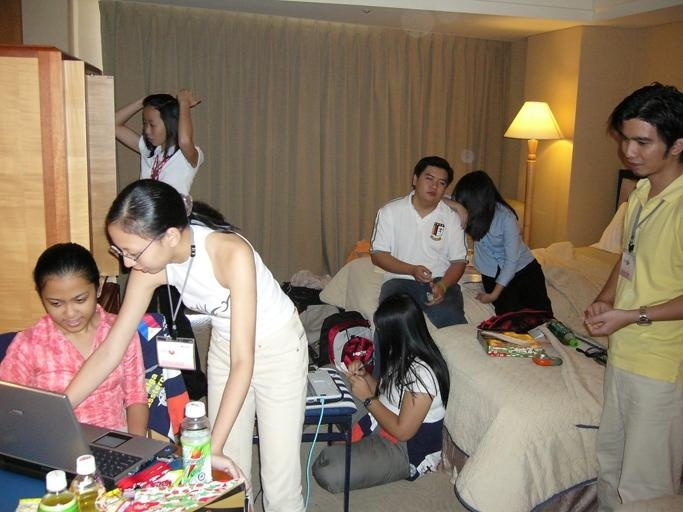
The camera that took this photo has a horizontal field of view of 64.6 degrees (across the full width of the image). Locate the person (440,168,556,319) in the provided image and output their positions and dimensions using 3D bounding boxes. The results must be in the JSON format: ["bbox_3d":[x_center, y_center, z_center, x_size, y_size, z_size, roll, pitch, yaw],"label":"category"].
[{"bbox_3d":[1.047,-0.101,3.594,0.712,0.891,0.455,2,12,11],"label":"person"}]

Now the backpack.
[{"bbox_3d":[0.053,0.572,3.525,0.292,0.459,0.225,-10,14,-29],"label":"backpack"}]

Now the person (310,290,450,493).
[{"bbox_3d":[0.169,0.677,2.880,0.740,0.972,0.730,11,13,33],"label":"person"}]

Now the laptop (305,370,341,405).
[{"bbox_3d":[-0.097,0.638,2.615,0.121,0.034,0.132,-2,29,-9],"label":"laptop"}]

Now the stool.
[{"bbox_3d":[-0.189,0.742,2.807,0.545,0.696,0.743,-1,22,-4],"label":"stool"}]

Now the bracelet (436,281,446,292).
[{"bbox_3d":[0.629,0.193,3.426,0.049,0.024,0.058,37,10,-14],"label":"bracelet"}]

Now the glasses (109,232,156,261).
[{"bbox_3d":[-0.667,-0.033,1.732,0.067,0.022,0.074,15,61,38],"label":"glasses"}]

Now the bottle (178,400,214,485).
[{"bbox_3d":[-0.450,0.591,1.654,0.077,0.309,0.082,4,18,-1],"label":"bottle"}]

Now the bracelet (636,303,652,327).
[{"bbox_3d":[1.201,0.240,2.176,0.047,0.074,0.078,-2,-26,22],"label":"bracelet"}]
